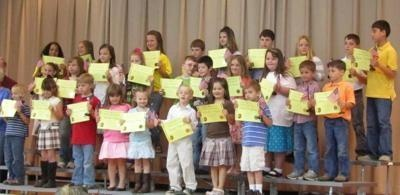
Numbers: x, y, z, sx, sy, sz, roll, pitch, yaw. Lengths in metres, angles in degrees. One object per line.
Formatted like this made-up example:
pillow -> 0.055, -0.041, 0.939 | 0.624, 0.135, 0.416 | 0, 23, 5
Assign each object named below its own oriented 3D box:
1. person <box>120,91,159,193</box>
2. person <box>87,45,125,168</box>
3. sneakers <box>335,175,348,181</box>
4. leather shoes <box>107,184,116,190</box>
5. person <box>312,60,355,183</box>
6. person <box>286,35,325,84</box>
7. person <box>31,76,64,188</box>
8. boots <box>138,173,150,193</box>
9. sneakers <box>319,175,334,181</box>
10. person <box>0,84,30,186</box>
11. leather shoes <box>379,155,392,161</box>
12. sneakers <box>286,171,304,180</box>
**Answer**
person -> -1.144, 0.810, 10.440 | 0.556, 2.015, 0.712 | 0, -16, -8
person -> -1.876, -0.162, 11.174 | 0.664, 1.655, 0.542 | -10, 22, -23
sneakers -> 2.581, 1.483, 9.930 | 0.256, 0.128, 0.068 | 0, -15, -9
leather shoes -> -1.743, 1.736, 10.459 | 0.165, 0.132, 0.137 | 0, -15, -10
person -> 2.498, 0.439, 10.051 | 0.508, 2.222, 0.685 | 3, -17, -19
person -> 2.047, -0.671, 10.743 | 0.815, 1.032, 0.622 | 1, 21, 21
person -> -2.993, 0.694, 10.641 | 0.462, 2.126, 0.663 | 2, -16, -16
boots -> -1.095, 1.638, 10.381 | 0.234, 0.370, 0.145 | 1, -16, -11
sneakers -> 2.312, 1.496, 10.047 | 0.280, 0.098, 0.092 | 4, -7, -7
person -> -3.725, 0.754, 10.841 | 0.479, 1.945, 0.728 | 3, -16, -19
leather shoes -> 3.475, 1.147, 10.182 | 0.223, 0.133, 0.100 | -6, -15, 15
sneakers -> 1.770, 1.460, 10.172 | 0.291, 0.116, 0.125 | 3, -5, -15
